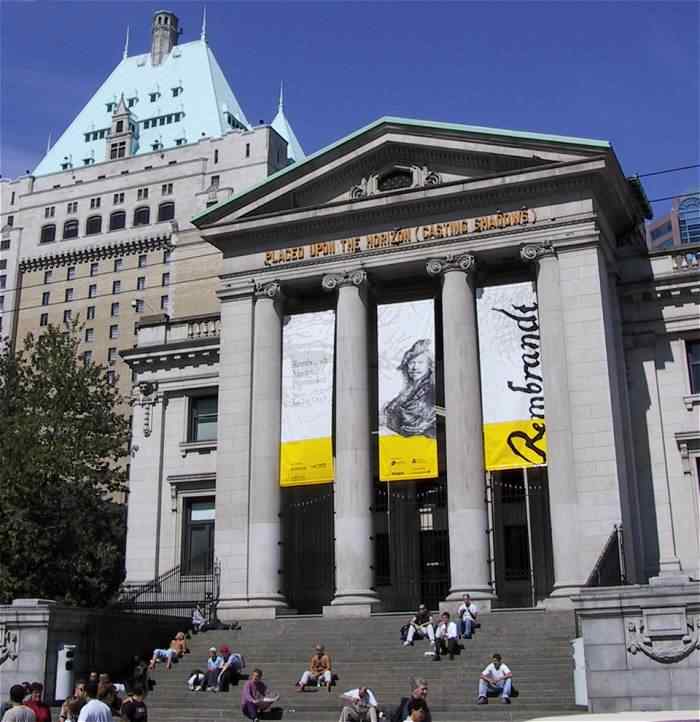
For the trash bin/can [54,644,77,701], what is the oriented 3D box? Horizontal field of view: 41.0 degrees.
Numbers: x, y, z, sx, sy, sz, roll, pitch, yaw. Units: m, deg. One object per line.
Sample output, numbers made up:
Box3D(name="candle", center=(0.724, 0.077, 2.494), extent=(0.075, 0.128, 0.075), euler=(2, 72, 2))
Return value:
Box3D(name="trash bin/can", center=(-6.912, 7.547, 22.841), extent=(0.469, 1.257, 0.544), euler=(5, -21, -17))
